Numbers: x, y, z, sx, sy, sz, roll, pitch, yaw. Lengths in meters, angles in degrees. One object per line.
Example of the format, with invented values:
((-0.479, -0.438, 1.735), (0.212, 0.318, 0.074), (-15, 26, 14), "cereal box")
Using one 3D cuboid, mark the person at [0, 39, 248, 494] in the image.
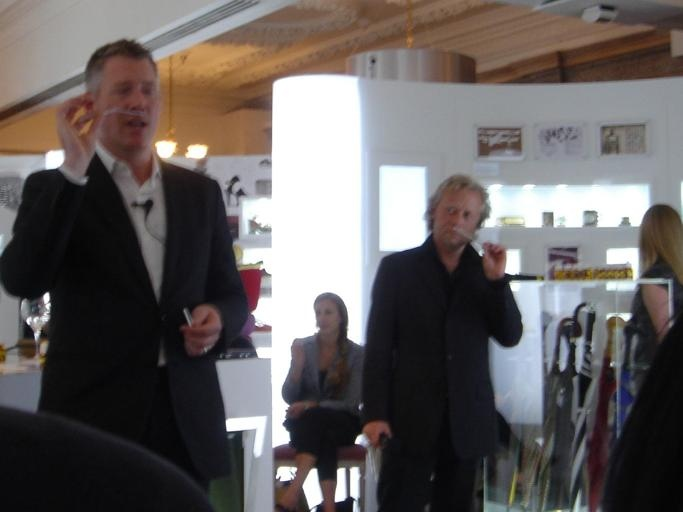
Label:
((-0.437, 0.002, 1.385), (0.472, 0.935, 0.197), (-1, 2, -9), "person")
